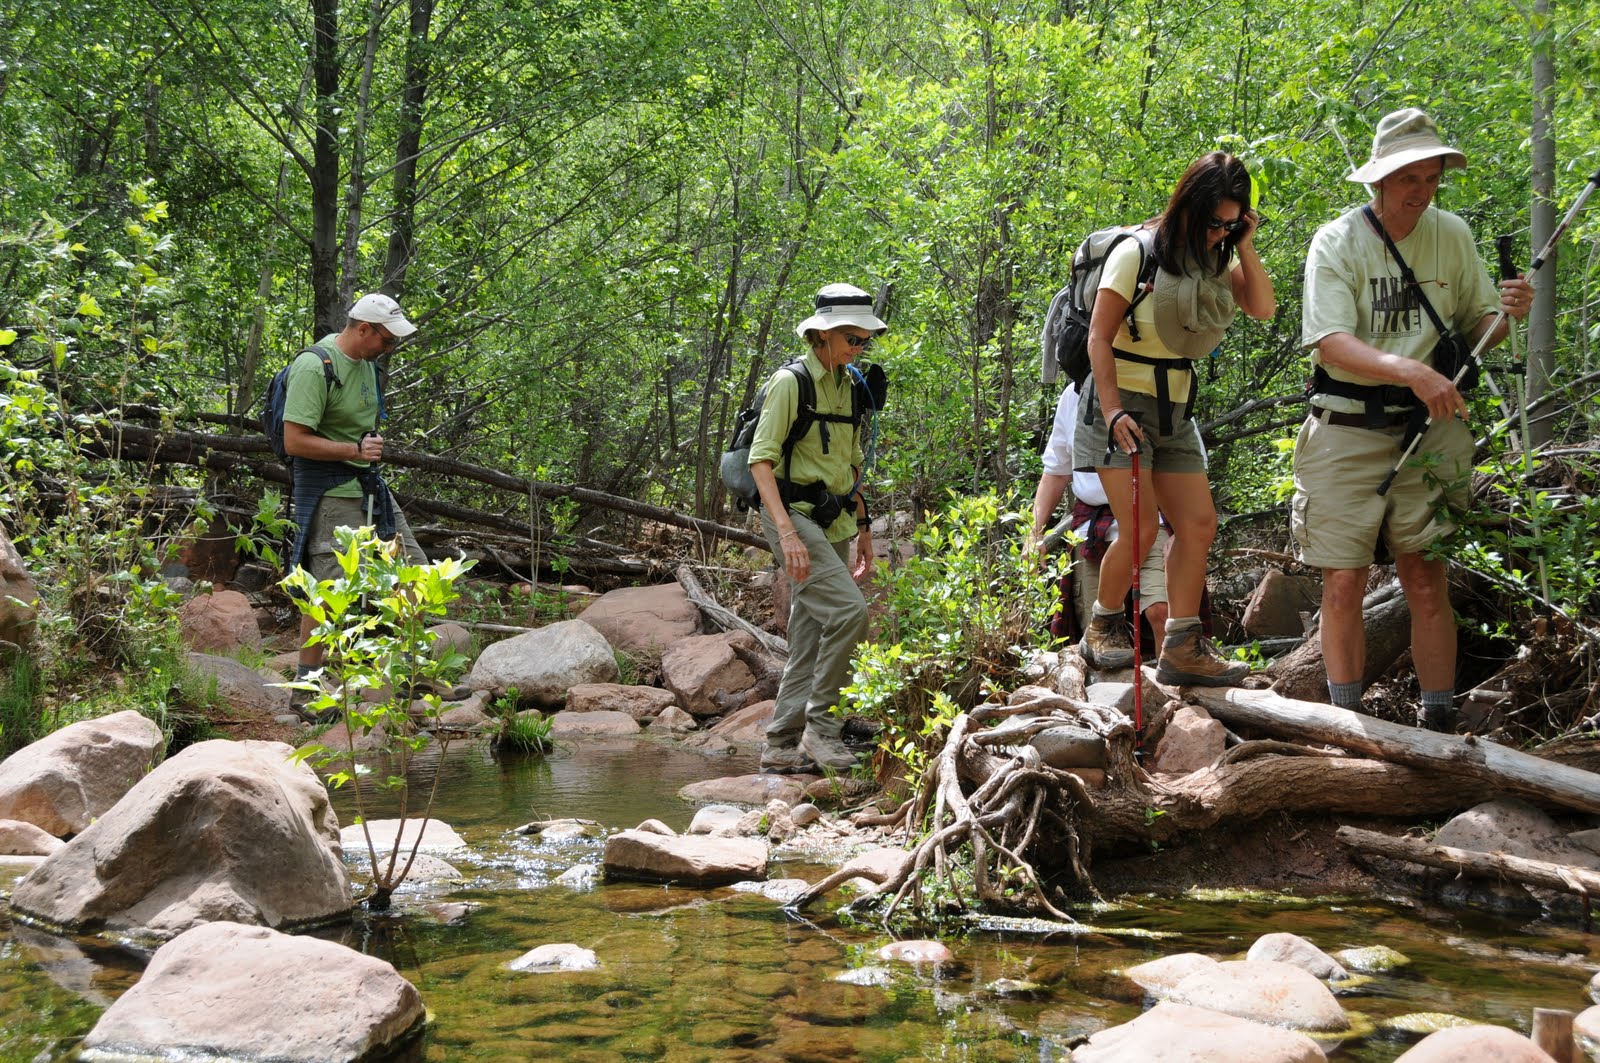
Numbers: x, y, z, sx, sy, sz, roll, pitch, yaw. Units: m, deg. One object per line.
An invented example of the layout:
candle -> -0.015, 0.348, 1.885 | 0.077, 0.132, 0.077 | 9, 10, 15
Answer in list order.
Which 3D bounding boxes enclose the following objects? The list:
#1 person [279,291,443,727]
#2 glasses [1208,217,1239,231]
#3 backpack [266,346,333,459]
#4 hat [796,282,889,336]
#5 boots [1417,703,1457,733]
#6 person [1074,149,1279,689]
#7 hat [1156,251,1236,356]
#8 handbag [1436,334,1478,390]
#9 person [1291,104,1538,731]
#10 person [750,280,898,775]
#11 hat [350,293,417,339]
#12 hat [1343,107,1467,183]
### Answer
person -> -3.363, -0.716, 10.554 | 0.986, 2.017, 0.814 | -6, 10, -20
glasses -> 2.406, -1.730, 8.060 | 0.082, 0.078, 0.024 | 8, -8, 10
backpack -> -3.740, -0.938, 10.662 | 0.456, 0.880, 0.651 | -9, 11, -34
hat -> 0.288, -1.550, 9.687 | 0.492, 0.254, 0.460 | -4, -4, 43
boots -> 3.627, 1.046, 8.092 | 0.181, 0.166, 0.171 | 6, -8, -43
person -> 2.149, -0.604, 8.315 | 1.022, 3.094, 0.737 | -1, 9, 10
hat -> 2.287, -1.262, 8.196 | 0.498, 0.533, 0.169 | -4, 9, -12
handbag -> 3.665, -0.946, 7.921 | 0.211, 0.306, 0.329 | -1, 9, 9
person -> 3.390, -0.609, 8.047 | 1.119, 3.462, 0.638 | 0, 10, 15
person -> 0.215, 0.001, 9.800 | 0.883, 3.317, 0.656 | -10, 12, -37
hat -> -3.019, -1.574, 10.373 | 0.549, 0.302, 0.329 | 9, 23, -19
hat -> 3.484, -2.182, 7.989 | 0.696, 0.324, 0.646 | -14, 15, -41
